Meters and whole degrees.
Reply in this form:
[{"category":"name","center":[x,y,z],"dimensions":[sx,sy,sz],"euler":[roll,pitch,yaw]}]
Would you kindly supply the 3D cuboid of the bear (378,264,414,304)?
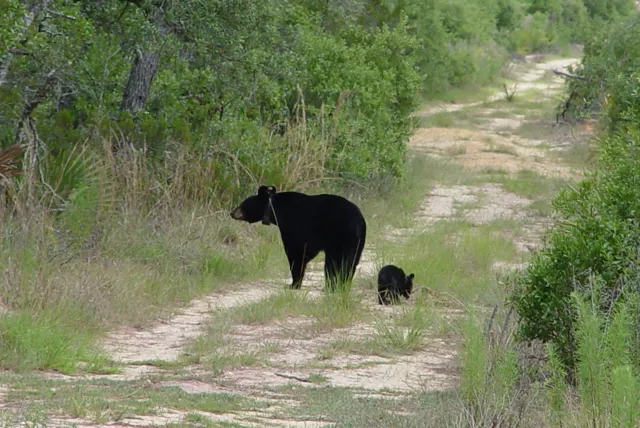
[{"category":"bear","center":[0.975,0.901,10.151],"dimensions":[0.473,0.403,0.227],"euler":[17,21,23]}]
